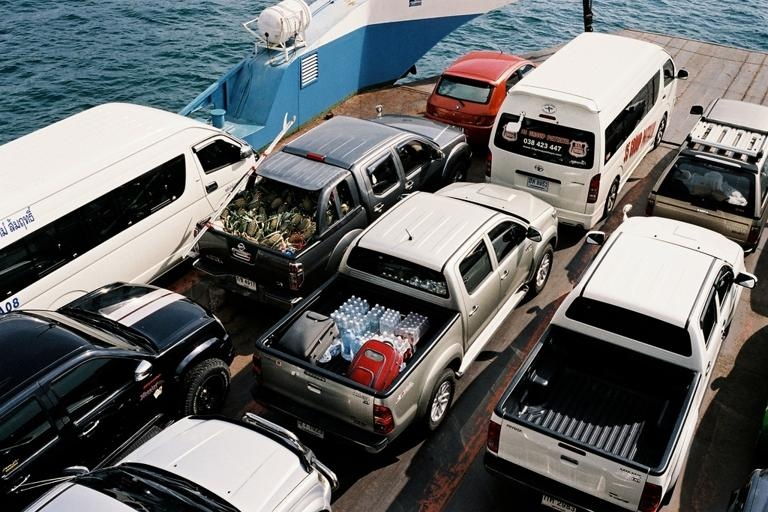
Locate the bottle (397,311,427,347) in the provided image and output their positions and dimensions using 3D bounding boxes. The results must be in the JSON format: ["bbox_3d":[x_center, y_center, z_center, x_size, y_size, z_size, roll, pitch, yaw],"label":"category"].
[{"bbox_3d":[0.451,1.123,8.297,0.345,0.150,0.483,22,51,27],"label":"bottle"}]

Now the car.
[{"bbox_3d":[2.826,-4.680,15.488,2.231,2.078,4.414,16,37,17],"label":"car"}]

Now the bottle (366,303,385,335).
[{"bbox_3d":[-0.144,1.041,8.479,0.171,0.311,0.328,26,61,20],"label":"bottle"}]

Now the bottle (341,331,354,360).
[{"bbox_3d":[-0.569,1.413,8.201,0.202,0.478,0.200,-2,30,1],"label":"bottle"}]

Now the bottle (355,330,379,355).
[{"bbox_3d":[-0.276,1.316,8.274,0.312,0.312,0.472,7,20,-2],"label":"bottle"}]

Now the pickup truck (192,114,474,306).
[{"bbox_3d":[-0.747,-1.457,11.797,3.042,2.671,6.808,21,43,29],"label":"pickup truck"}]

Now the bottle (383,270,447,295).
[{"bbox_3d":[0.515,0.455,8.602,1.076,0.224,0.302,17,65,9],"label":"bottle"}]

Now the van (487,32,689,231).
[{"bbox_3d":[5.306,-3.491,12.980,3.215,2.866,5.915,22,49,31],"label":"van"}]

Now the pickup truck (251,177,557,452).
[{"bbox_3d":[0.834,0.488,9.573,2.869,2.341,6.598,17,40,32],"label":"pickup truck"}]
